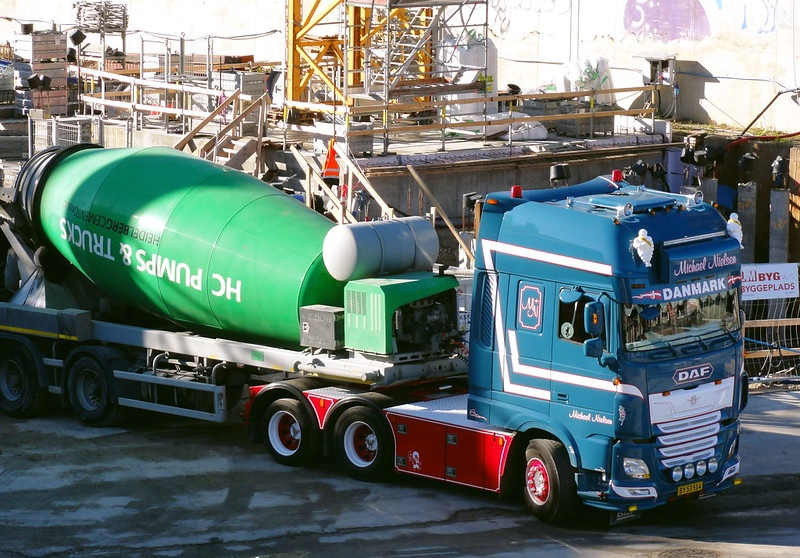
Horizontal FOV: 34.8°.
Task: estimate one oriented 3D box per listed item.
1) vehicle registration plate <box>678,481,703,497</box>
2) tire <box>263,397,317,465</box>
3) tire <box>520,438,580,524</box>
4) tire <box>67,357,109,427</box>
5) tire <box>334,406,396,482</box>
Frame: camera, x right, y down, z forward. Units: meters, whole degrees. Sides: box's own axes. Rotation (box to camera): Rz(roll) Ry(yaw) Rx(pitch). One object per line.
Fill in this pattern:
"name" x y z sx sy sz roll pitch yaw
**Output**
"vehicle registration plate" 4.169 3.022 18.446 0.485 0.182 0.054 -5 8 -31
"tire" -1.755 2.501 20.713 1.078 1.060 0.381 -1 0 40
"tire" 2.189 2.914 18.492 0.481 1.184 1.085 -8 15 -32
"tire" -5.349 1.926 22.430 1.251 1.215 0.444 4 6 37
"tire" -0.504 2.566 20.029 1.171 1.150 0.413 -6 -2 40
